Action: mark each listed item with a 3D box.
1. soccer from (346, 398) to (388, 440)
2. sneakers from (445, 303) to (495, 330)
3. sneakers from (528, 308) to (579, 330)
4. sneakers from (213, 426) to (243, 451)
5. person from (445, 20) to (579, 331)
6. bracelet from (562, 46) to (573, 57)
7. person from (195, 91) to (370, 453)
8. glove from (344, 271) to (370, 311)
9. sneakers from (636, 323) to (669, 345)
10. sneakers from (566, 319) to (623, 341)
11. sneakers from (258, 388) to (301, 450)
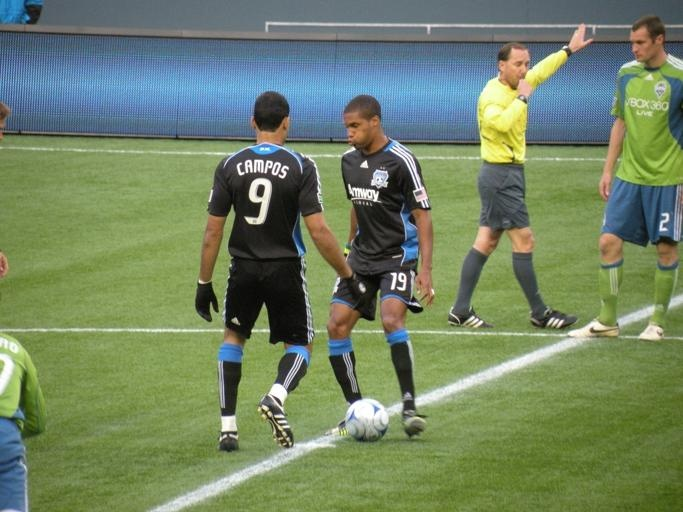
[{"bbox_3d":[0.146,1.138,7.437,0.354,0.252,0.355,-4,-22,-1],"label":"soccer"},{"bbox_3d":[1.181,0.570,9.670,0.445,0.200,0.161,5,-3,1],"label":"sneakers"},{"bbox_3d":[1.918,0.578,9.577,0.364,0.172,0.182,-1,5,0],"label":"sneakers"},{"bbox_3d":[-0.779,1.267,7.271,0.145,0.134,0.149,-2,9,-8],"label":"sneakers"},{"bbox_3d":[1.548,-0.638,9.549,1.153,2.557,0.599,0,8,4],"label":"person"},{"bbox_3d":[2.080,-1.881,9.630,0.072,0.101,0.100,0,14,-25],"label":"bracelet"},{"bbox_3d":[-0.493,0.080,7.383,0.997,2.435,0.480,-4,9,-21],"label":"person"},{"bbox_3d":[0.106,0.252,7.550,0.082,0.233,0.166,-22,29,5],"label":"glove"},{"bbox_3d":[2.705,0.681,9.111,0.167,0.140,0.316,-2,-1,23],"label":"sneakers"},{"bbox_3d":[2.241,0.651,9.304,0.478,0.195,0.171,3,-1,10],"label":"sneakers"},{"bbox_3d":[-0.432,1.094,7.208,0.222,0.447,0.155,-36,16,-30],"label":"sneakers"}]
